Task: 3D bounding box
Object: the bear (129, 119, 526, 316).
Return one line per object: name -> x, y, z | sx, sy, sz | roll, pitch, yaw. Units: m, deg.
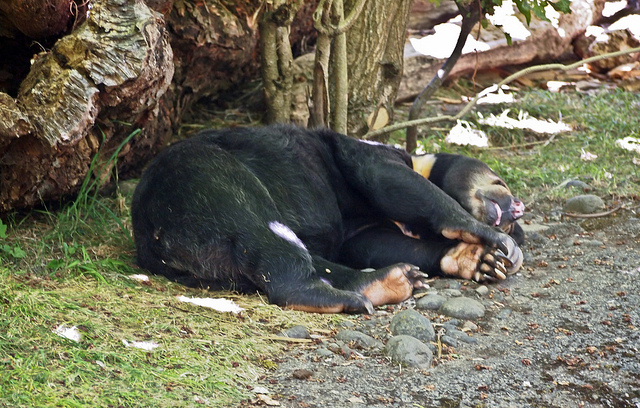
bear -> 0.069, 0.099, 5.555 | 2.520, 1.015, 1.593 | 2, 0, -15
